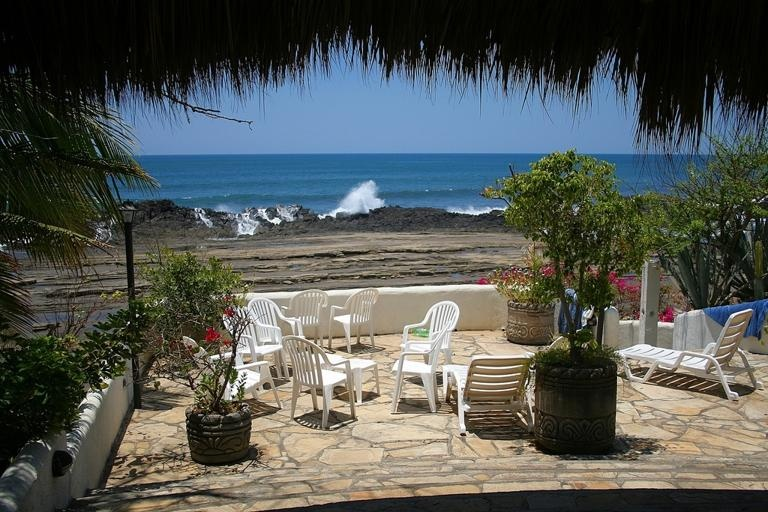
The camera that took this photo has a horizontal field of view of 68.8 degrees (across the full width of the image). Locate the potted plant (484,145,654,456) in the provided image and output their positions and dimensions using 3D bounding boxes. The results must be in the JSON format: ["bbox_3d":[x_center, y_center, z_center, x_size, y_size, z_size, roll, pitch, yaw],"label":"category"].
[{"bbox_3d":[2.128,0.489,6.175,1.415,3.245,1.184,0,3,26],"label":"potted plant"}]

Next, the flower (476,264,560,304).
[{"bbox_3d":[2.709,0.507,11.007,1.572,0.692,1.620,-7,5,11],"label":"flower"}]

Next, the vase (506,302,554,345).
[{"bbox_3d":[2.753,1.199,10.658,0.907,0.734,0.889,-6,9,-43],"label":"vase"}]

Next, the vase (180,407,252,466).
[{"bbox_3d":[-1.805,1.894,6.113,0.578,0.405,0.567,5,-6,-45],"label":"vase"}]
